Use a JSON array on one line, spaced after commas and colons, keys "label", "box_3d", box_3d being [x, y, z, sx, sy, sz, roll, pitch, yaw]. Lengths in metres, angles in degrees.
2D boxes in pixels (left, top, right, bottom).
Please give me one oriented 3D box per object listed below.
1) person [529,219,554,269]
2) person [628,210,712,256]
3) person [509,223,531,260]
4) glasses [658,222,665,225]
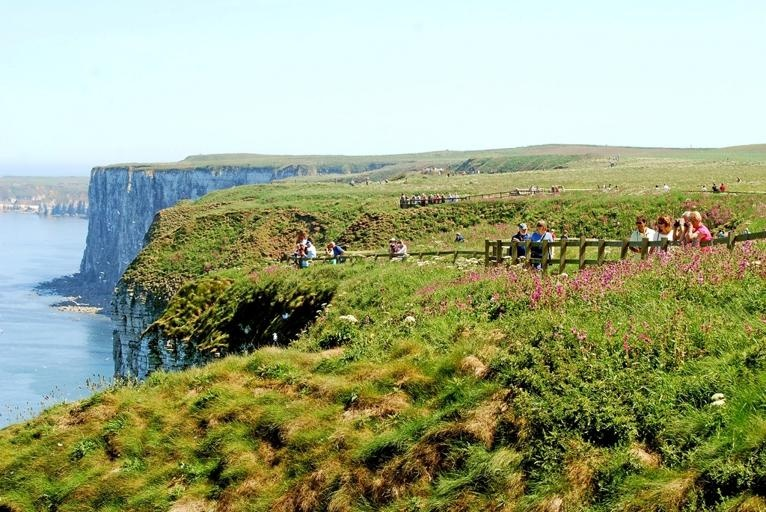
[{"label": "person", "box_3d": [4.660, -0.392, 23.866, 0.657, 1.364, 1.942, 1, 4, 10]}, {"label": "person", "box_3d": [7.746, -0.683, 21.203, 1.175, 0.967, 1.967, 9, -13, -43]}, {"label": "person", "box_3d": [4.173, -0.490, 24.758, 0.557, 1.034, 1.971, 1, 4, 9]}, {"label": "glasses", "box_3d": [7.231, -0.895, 21.062, 0.055, 0.081, 0.239, 0, 4, -8]}]
